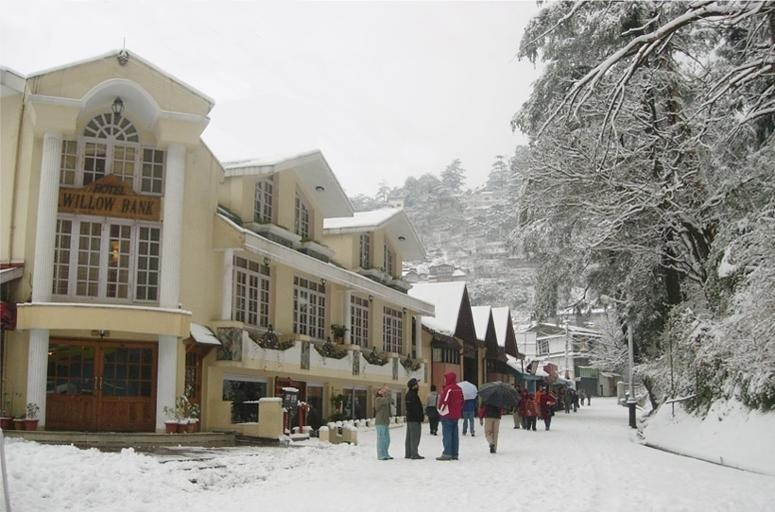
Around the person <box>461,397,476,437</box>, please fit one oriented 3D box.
[{"bbox_3d":[3.362,6.514,31.098,0.624,1.961,0.549,-2,-32,9],"label":"person"}]

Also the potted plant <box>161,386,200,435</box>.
[{"bbox_3d":[-6.837,5.328,25.420,1.154,1.505,1.128,-9,-17,28],"label":"potted plant"}]

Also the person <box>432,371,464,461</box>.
[{"bbox_3d":[1.915,4.869,22.967,0.759,2.628,1.139,-2,-12,6],"label":"person"}]

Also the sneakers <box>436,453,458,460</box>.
[{"bbox_3d":[1.804,5.972,22.339,0.573,0.254,0.226,5,-12,1],"label":"sneakers"}]

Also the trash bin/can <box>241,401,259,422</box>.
[{"bbox_3d":[-5.297,6.021,29.017,0.510,1.112,1.008,-2,-4,6],"label":"trash bin/can"}]

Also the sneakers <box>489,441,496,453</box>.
[{"bbox_3d":[3.330,6.065,23.781,0.135,0.384,0.160,-3,-7,9],"label":"sneakers"}]

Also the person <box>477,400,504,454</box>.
[{"bbox_3d":[3.391,5.596,24.593,0.615,1.652,2.115,-2,-13,7],"label":"person"}]

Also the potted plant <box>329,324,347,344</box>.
[{"bbox_3d":[-2.281,3.594,35.351,0.894,0.987,0.735,6,-14,-27],"label":"potted plant"}]

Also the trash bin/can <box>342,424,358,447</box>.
[{"bbox_3d":[-1.365,6.578,27.428,0.238,0.630,0.605,11,-20,-35],"label":"trash bin/can"}]

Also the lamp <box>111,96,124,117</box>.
[{"bbox_3d":[-9.240,-5.170,25.917,0.389,0.559,0.513,5,-14,-25],"label":"lamp"}]

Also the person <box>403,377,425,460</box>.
[{"bbox_3d":[0.825,5.066,23.516,0.536,2.493,1.457,-1,-12,1],"label":"person"}]
